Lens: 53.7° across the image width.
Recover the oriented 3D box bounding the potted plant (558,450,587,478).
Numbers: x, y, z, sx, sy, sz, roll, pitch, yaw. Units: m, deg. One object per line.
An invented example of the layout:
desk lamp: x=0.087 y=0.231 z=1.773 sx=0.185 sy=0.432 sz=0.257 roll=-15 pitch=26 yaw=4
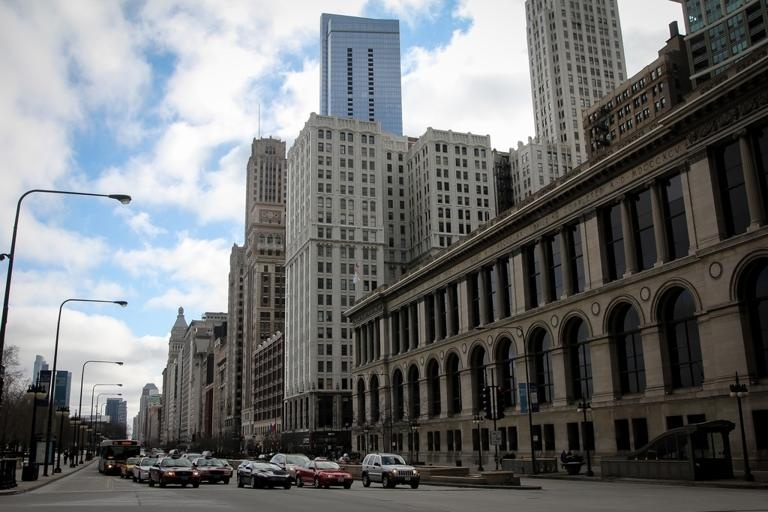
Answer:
potted plant: x=17.608 y=19.225 z=70.308 sx=2.170 sy=1.914 sz=2.186 roll=3 pitch=-24 yaw=-5

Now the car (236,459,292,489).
car: x=-9.837 y=17.689 z=61.437 sx=2.052 sy=2.397 sz=5.231 roll=18 pitch=-28 yaw=-39

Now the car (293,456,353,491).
car: x=-5.027 y=17.927 z=61.744 sx=2.682 sy=2.043 sz=5.996 roll=4 pitch=-12 yaw=-22

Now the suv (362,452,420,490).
suv: x=0.364 y=17.576 z=61.943 sx=2.385 sy=2.139 sz=4.854 roll=9 pitch=-26 yaw=-24
